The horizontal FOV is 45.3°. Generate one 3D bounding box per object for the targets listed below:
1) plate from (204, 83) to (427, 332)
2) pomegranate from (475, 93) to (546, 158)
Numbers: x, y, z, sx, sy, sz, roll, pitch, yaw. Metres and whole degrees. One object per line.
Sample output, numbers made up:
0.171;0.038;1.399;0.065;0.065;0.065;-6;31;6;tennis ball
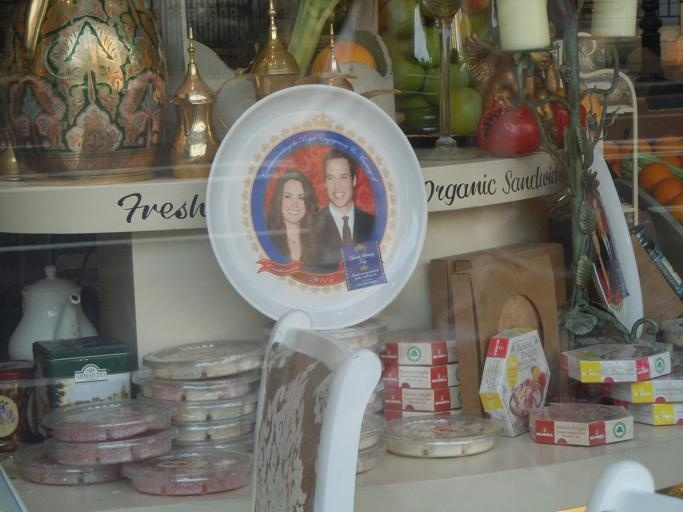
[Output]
-0.037;-0.079;1.326;0.357;0.363;0.046;-5;1;-14;plate
0.299;-0.224;1.431;0.093;0.096;0.095;-12;14;-19;pomegranate
